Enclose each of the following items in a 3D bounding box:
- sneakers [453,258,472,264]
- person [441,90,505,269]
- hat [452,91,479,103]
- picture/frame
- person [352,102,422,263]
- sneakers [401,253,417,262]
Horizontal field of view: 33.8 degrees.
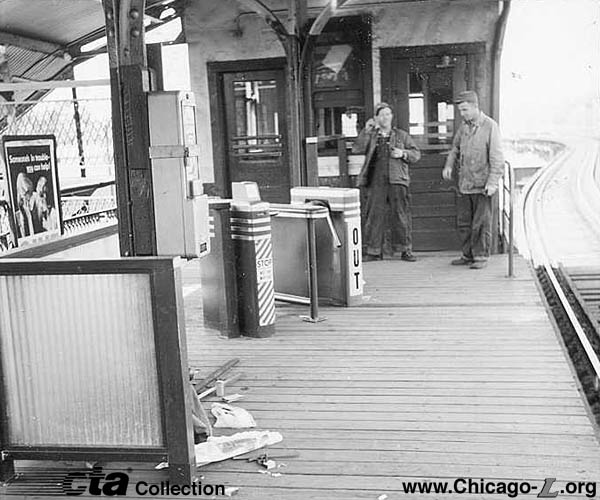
[{"bbox_3d":[2.179,0.170,13.291,0.256,0.123,0.095,2,2,17],"label":"sneakers"},{"bbox_3d":[2.295,-0.872,12.818,0.348,2.277,0.747,-13,16,-40],"label":"person"},{"bbox_3d":[2.158,-1.954,12.775,0.358,0.182,0.267,4,6,4],"label":"hat"},{"bbox_3d":[-2.361,-0.548,8.761,0.237,0.976,0.802,0,13,12],"label":"picture/frame"},{"bbox_3d":[1.187,-0.877,13.477,0.827,2.188,0.481,1,13,14],"label":"person"},{"bbox_3d":[1.522,0.118,13.740,0.219,0.164,0.091,-2,3,10],"label":"sneakers"}]
